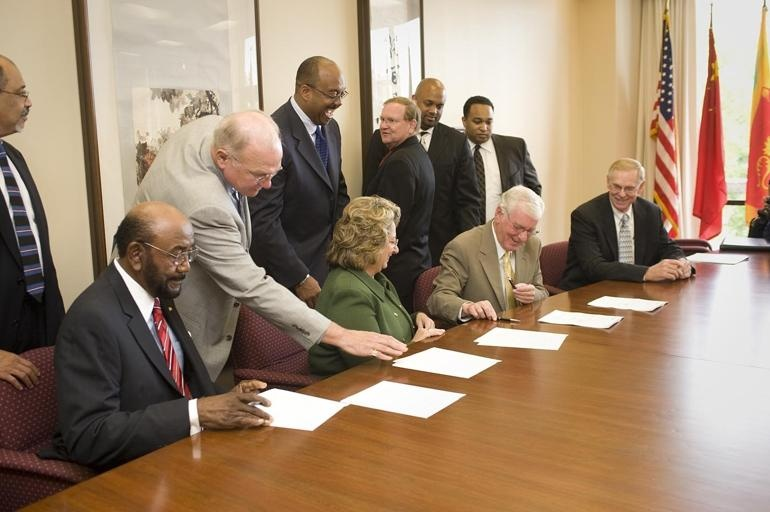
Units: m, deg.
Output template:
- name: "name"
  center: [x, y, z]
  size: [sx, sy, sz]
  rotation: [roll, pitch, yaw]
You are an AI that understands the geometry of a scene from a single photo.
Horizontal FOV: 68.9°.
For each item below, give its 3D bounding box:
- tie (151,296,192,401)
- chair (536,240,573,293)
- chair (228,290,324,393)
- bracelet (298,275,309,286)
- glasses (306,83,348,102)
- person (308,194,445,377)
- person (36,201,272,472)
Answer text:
- name: "tie"
  center: [-0.879, 0.387, 2.279]
  size: [0.060, 0.442, 0.047]
  rotation: [-20, -21, 1]
- name: "chair"
  center: [1.392, 0.081, 4.597]
  size: [0.347, 0.561, 0.362]
  rotation: [3, -2, 14]
- name: "chair"
  center: [-0.503, 0.508, 3.059]
  size: [0.414, 0.629, 0.471]
  rotation: [-11, -23, 36]
- name: "bracelet"
  center: [-0.485, 0.143, 3.317]
  size: [0.035, 0.048, 0.047]
  rotation: [12, 20, -24]
- name: "glasses"
  center: [-0.346, -0.980, 3.350]
  size: [0.130, 0.040, 0.131]
  rotation: [31, 30, 26]
- name: "person"
  center: [0.054, 0.170, 3.122]
  size: [0.727, 1.100, 1.103]
  rotation: [0, 8, 4]
- name: "person"
  center: [-0.742, 0.259, 2.383]
  size: [0.897, 0.970, 0.999]
  rotation: [3, 2, -1]
